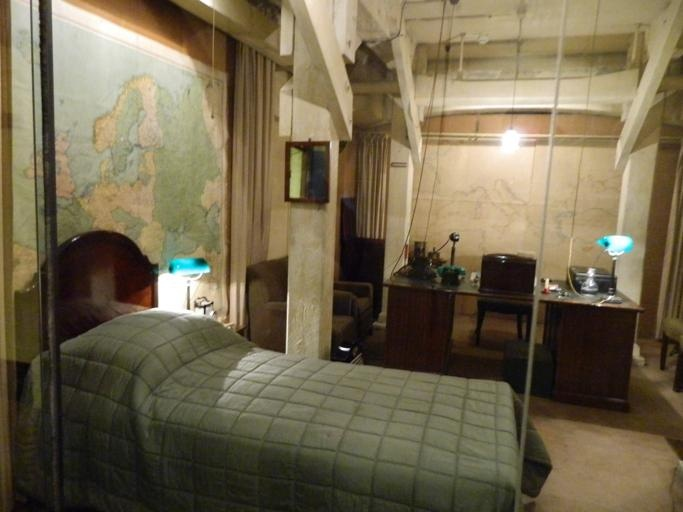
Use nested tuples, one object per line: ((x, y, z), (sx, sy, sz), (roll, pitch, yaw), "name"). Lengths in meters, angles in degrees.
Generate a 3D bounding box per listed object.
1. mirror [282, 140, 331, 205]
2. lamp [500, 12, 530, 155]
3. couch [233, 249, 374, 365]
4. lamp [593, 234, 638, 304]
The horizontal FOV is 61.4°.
((-0.215, -0.540, 3.695), (0.285, 0.402, 0.033), (1, -3, -2), "mirror")
((1.019, -1.028, 3.371), (0.120, 0.831, 0.128), (5, 4, 21), "lamp")
((-0.300, 0.407, 5.040), (0.984, 0.781, 1.086), (11, 10, 31), "couch")
((1.346, 0.064, 2.871), (0.163, 0.353, 0.137), (4, 4, 6), "lamp")
